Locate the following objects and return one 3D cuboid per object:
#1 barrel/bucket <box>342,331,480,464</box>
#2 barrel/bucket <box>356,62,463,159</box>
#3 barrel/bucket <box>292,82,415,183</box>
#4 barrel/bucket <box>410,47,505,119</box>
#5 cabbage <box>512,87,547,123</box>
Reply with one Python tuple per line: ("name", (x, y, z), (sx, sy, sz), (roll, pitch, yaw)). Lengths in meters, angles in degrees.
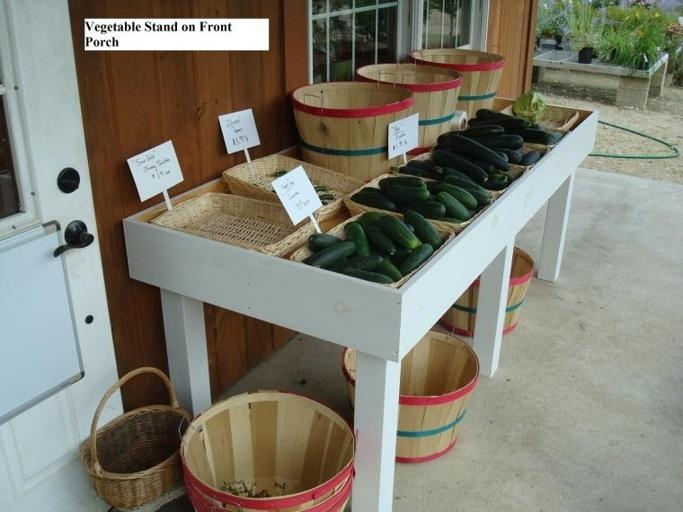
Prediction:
("barrel/bucket", (0.378, 0.666, 2.608), (0.658, 0.629, 0.611), (0, 24, 0))
("barrel/bucket", (0.433, -0.924, 2.922), (0.599, 0.490, 0.567), (-1, 32, 1))
("barrel/bucket", (0.071, -0.670, 2.714), (0.620, 0.572, 0.505), (8, 27, 11))
("barrel/bucket", (0.857, -1.129, 3.454), (0.687, 0.517, 0.409), (22, 29, 34))
("cabbage", (1.233, -0.949, 3.388), (0.205, 0.236, 0.154), (0, 41, 23))
